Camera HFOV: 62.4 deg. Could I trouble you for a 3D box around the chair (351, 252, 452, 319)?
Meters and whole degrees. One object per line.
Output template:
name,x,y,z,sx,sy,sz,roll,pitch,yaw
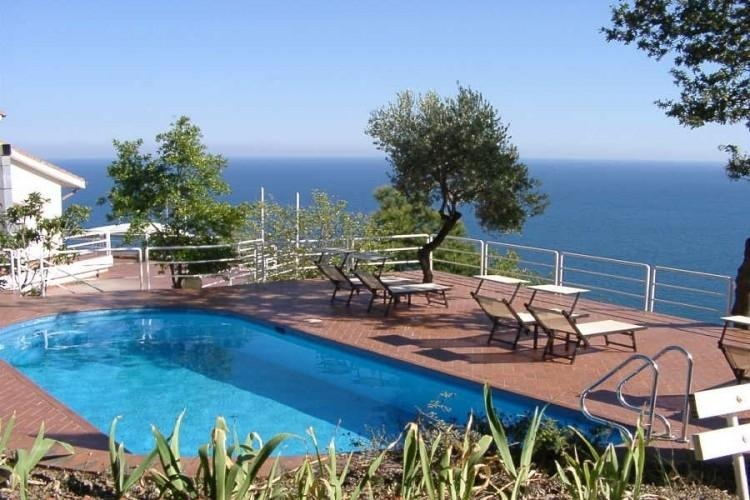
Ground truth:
chair,0.624,0.781,12.536,1.317,0.619,1.449,-4,11,-26

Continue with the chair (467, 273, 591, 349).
chair,2.413,1.093,10.896,0.806,1.016,1.713,8,9,44

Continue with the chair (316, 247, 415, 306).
chair,-0.469,0.531,14.120,1.511,0.714,1.782,8,11,37
